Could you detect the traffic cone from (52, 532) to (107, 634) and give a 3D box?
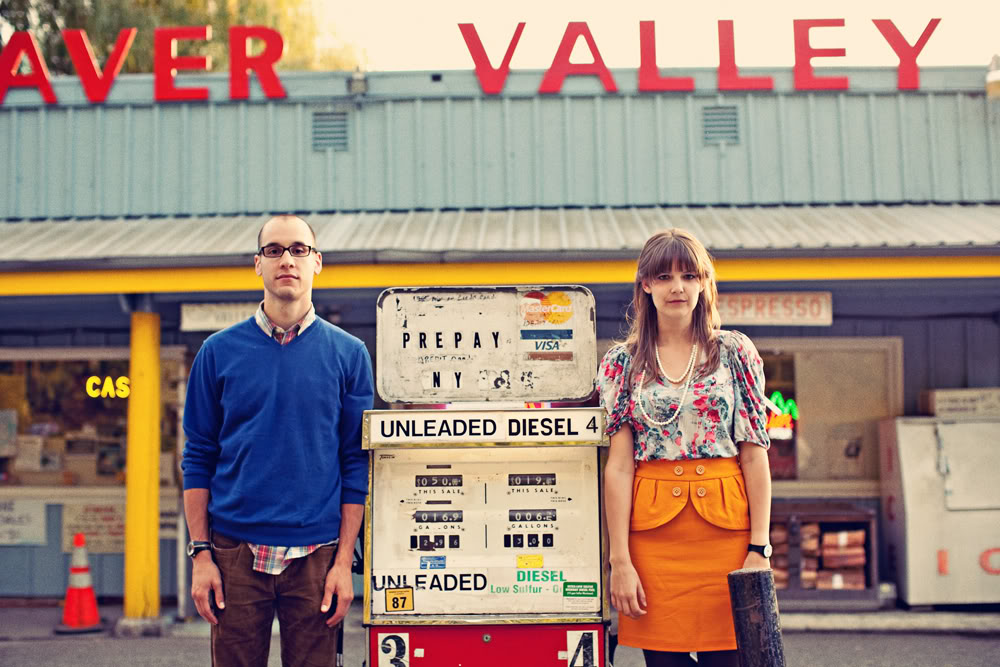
[{"bbox_3d":[-5.073,3.034,25.485,0.476,1.218,0.514,0,12,-10],"label":"traffic cone"}]
